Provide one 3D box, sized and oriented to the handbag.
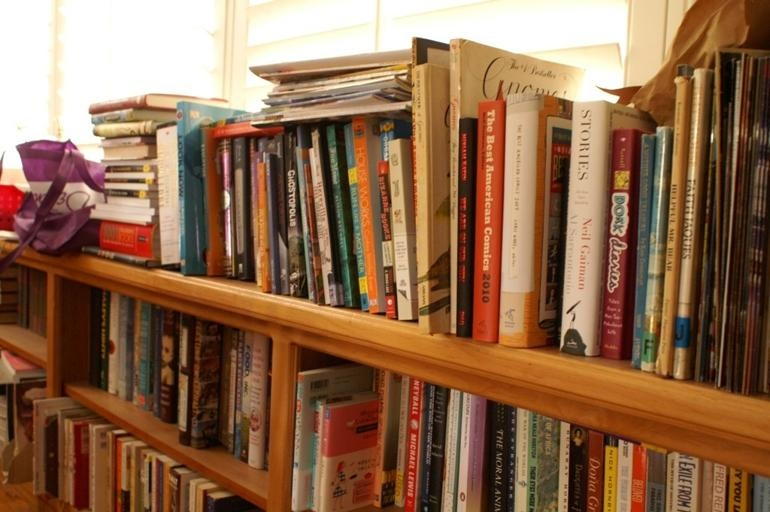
[{"bbox_3d":[-0.940,-0.172,1.988,0.287,0.271,0.240,-3,17,-45],"label":"handbag"}]
